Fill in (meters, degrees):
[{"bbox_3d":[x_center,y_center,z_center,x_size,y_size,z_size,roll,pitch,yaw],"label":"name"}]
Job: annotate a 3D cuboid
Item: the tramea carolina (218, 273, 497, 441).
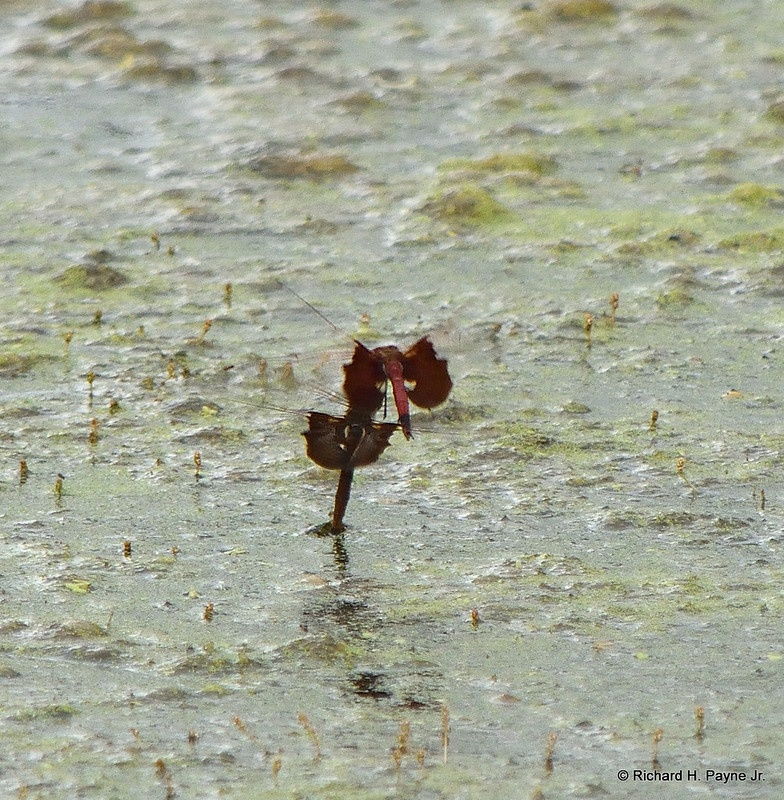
[{"bbox_3d":[-0.144,-0.179,5.742,0.337,0.628,0.505,-37,105,-1],"label":"tramea carolina"}]
